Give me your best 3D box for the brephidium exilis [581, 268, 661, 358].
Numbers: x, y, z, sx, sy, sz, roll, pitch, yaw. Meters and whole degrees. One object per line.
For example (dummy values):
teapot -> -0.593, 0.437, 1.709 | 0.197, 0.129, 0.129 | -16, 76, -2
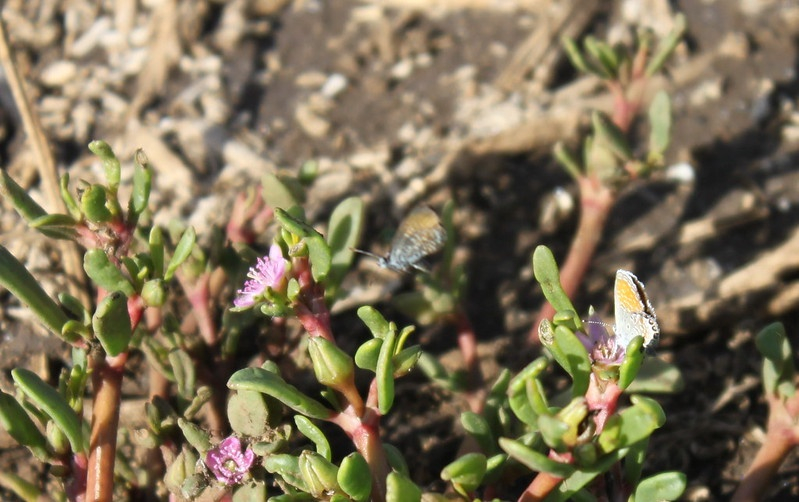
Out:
brephidium exilis -> 0.895, 0.298, 3.639 | 0.194, 0.503, 0.267 | 2, 3, 1

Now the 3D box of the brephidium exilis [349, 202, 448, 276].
brephidium exilis -> 0.029, 0.018, 4.598 | 0.405, 0.572, 0.319 | 19, 41, 29

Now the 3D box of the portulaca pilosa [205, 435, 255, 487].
portulaca pilosa -> -0.737, 0.921, 3.910 | 0.160, 0.261, 0.161 | 2, 2, 36

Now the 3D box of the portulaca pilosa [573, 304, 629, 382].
portulaca pilosa -> 0.838, 0.383, 3.736 | 0.128, 0.328, 0.134 | 3, 4, 11
